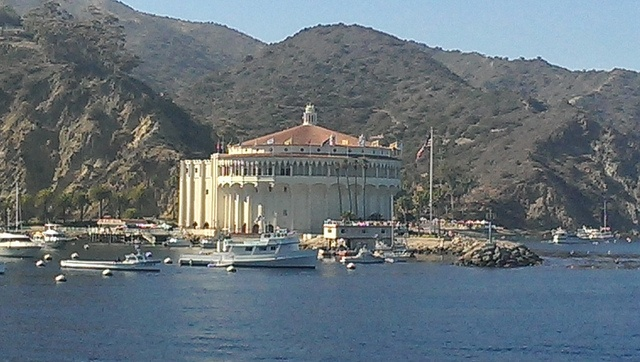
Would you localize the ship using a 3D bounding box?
[{"bbox_3d":[-21.634,18.836,314.675,40.937,10.951,10.964,-2,1,12],"label":"ship"}]

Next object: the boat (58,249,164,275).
[{"bbox_3d":[-50.027,23.719,310.278,36.133,7.582,8.180,0,-1,4],"label":"boat"}]
